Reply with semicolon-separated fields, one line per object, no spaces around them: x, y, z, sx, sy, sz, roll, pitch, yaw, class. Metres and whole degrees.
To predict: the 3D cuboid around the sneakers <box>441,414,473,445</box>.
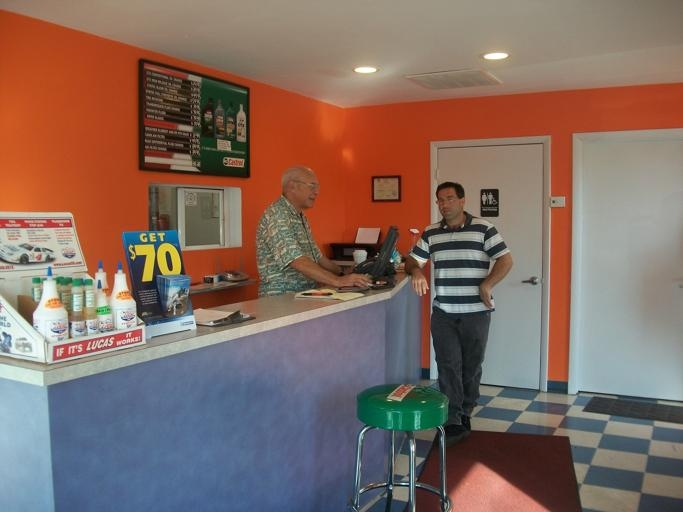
0.882;1.328;3.901;0.116;0.151;0.332;0;-6;32;sneakers

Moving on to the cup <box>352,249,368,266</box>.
0.128;0.002;4.118;0.117;0.168;0.118;-4;9;1;cup

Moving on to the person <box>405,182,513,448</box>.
0.838;0.395;3.731;0.763;1.829;0.724;-1;0;4;person

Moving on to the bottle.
-0.821;0.167;1.657;0.326;0.266;0.191;-4;6;-36;bottle

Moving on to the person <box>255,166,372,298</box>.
-0.221;-0.154;3.141;0.597;0.802;0.696;-2;5;-11;person

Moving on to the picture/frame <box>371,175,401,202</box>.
0.488;-0.749;5.554;0.284;0.249;0.025;1;2;13;picture/frame

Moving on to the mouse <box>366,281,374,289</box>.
0.160;0.165;2.981;0.041;0.042;0.040;4;19;23;mouse

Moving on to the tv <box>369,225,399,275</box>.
0.315;-0.049;3.930;0.161;0.402;0.420;23;4;13;tv

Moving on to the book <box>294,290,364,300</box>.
-0.069;0.203;2.752;0.374;0.040;0.241;-1;5;-4;book
